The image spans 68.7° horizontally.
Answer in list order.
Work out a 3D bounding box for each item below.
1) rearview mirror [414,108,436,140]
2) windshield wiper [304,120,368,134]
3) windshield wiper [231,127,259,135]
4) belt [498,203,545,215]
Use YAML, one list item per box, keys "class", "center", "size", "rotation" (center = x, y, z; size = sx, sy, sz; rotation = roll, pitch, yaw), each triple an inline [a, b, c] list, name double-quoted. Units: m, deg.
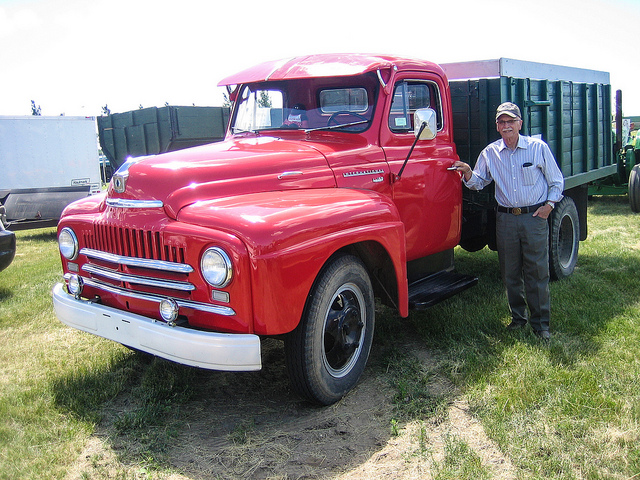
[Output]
- class: "rearview mirror"
  center: [0.978, -1.068, 4.330]
  size: [0.189, 0.285, 0.265]
  rotation: [9, 18, 40]
- class: "windshield wiper"
  center: [0.150, -1.075, 4.443]
  size: [0.603, 0.101, 0.082]
  rotation: [0, 14, 12]
- class: "windshield wiper"
  center: [-0.779, -1.145, 4.897]
  size: [0.064, 0.074, 0.456]
  rotation: [-13, 18, -37]
- class: "belt"
  center: [1.985, -0.310, 4.651]
  size: [0.390, 0.094, 0.104]
  rotation: [4, 15, 24]
